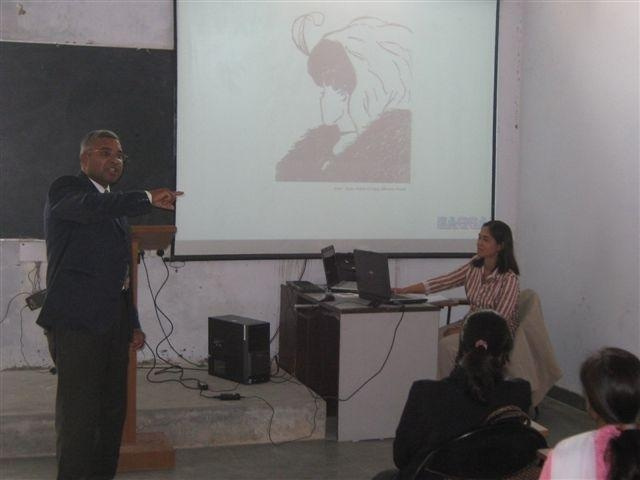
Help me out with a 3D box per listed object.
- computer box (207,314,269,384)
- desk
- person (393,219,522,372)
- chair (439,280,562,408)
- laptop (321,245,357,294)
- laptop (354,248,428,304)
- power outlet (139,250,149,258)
[{"bbox_3d":[-0.643,0.863,4.673,0.496,0.457,0.285,2,0,39],"label":"computer box"},{"bbox_3d":[0.257,1.149,4.569,0.847,1.143,1.712,2,-3,-14],"label":"desk"},{"bbox_3d":[1.214,0.402,5.066,0.979,1.781,0.908,3,-3,-9],"label":"person"},{"bbox_3d":[1.285,0.755,4.486,0.961,1.022,0.800,4,-9,3],"label":"chair"},{"bbox_3d":[0.157,0.219,4.757,0.261,0.329,0.382,-4,-2,21],"label":"laptop"},{"bbox_3d":[0.501,0.249,4.296,0.334,0.387,0.467,-5,2,-13],"label":"laptop"},{"bbox_3d":[-1.433,0.109,4.812,0.036,0.049,0.120,-2,-11,-12],"label":"power outlet"}]
